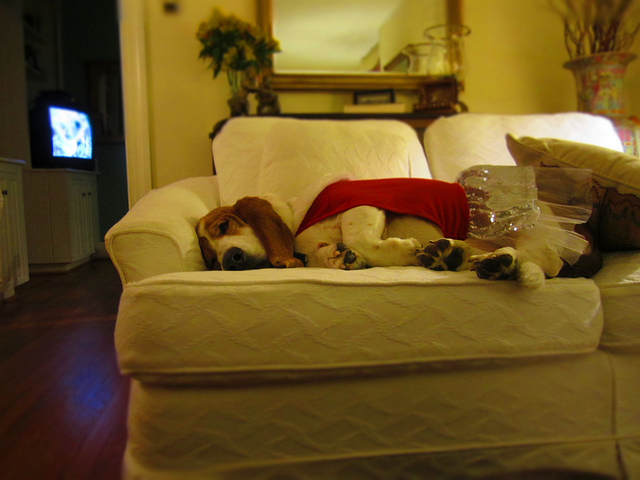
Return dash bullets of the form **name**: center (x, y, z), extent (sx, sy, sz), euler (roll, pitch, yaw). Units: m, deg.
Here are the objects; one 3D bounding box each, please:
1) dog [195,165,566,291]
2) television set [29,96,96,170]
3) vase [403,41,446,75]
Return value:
- **dog**: center (0.264, -0.063, 1.771), extent (0.872, 0.288, 0.622), euler (-3, -8, -12)
- **television set**: center (-2.714, -1.055, 5.122), extent (0.439, 0.668, 0.774), euler (0, 8, 7)
- **vase**: center (0.758, -1.337, 3.572), extent (0.283, 0.263, 0.357), euler (-7, 24, 3)
